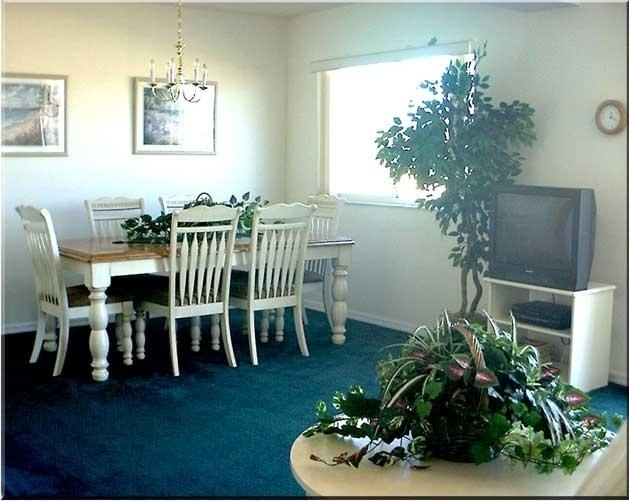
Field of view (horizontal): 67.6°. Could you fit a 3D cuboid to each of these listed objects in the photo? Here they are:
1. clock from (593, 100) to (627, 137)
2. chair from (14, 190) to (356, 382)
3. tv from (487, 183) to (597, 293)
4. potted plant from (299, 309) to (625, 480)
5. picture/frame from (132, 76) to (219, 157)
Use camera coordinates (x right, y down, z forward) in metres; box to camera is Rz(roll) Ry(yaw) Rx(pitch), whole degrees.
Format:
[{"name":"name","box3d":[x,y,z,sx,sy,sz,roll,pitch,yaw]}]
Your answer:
[{"name":"clock","box3d":[1.938,-0.866,3.062,0.036,0.204,0.185,-3,8,-28]},{"name":"chair","box3d":[-0.812,0.234,3.541,2.231,1.168,0.909,-4,9,-31]},{"name":"tv","box3d":[1.489,-0.078,3.043,0.341,0.617,0.612,-6,12,-45]},{"name":"potted plant","box3d":[0.304,0.301,0.941,0.417,0.194,0.419,-4,0,-21]},{"name":"picture/frame","box3d":[-1.384,-1.283,4.520,0.816,0.702,0.034,-6,11,-36]}]
